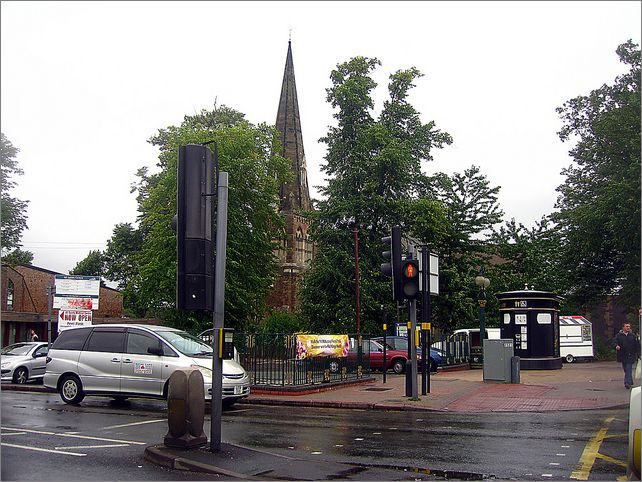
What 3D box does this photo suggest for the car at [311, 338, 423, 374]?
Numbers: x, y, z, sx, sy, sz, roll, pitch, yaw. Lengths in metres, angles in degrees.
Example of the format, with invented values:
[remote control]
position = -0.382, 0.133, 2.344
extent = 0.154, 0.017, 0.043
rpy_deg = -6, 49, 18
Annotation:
[car]
position = 2.167, 5.162, 32.113
extent = 3.702, 1.667, 1.755
rpy_deg = -2, -11, 2

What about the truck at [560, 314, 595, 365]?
[truck]
position = 16.451, 6.393, 45.702
extent = 2.813, 2.938, 1.753
rpy_deg = -4, -5, 23

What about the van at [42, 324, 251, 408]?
[van]
position = -5.198, 3.643, 21.125
extent = 5.636, 2.189, 2.735
rpy_deg = -5, -12, 17

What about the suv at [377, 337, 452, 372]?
[suv]
position = 4.279, 5.316, 33.048
extent = 3.059, 1.483, 1.494
rpy_deg = -2, -6, 14

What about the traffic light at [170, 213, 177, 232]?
[traffic light]
position = -2.872, -0.363, 13.656
extent = 0.095, 0.291, 0.415
rpy_deg = 3, -10, -16
